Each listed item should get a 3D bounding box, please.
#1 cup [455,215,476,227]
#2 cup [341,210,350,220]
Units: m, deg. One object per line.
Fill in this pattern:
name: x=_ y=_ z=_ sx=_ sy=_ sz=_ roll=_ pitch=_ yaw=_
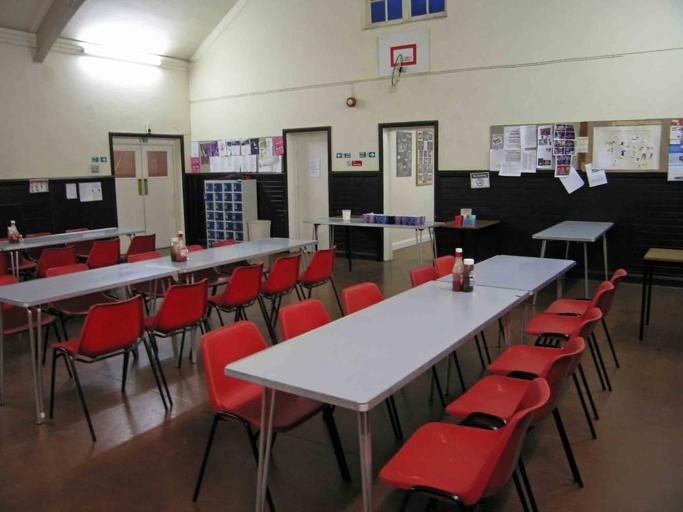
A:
cup: x=1.927 y=-0.548 z=7.618 sx=0.259 sy=0.113 sz=0.197 roll=5 pitch=9 yaw=28
cup: x=0.101 y=-0.688 z=8.357 sx=0.144 sy=0.211 sz=0.197 roll=7 pitch=11 yaw=27
